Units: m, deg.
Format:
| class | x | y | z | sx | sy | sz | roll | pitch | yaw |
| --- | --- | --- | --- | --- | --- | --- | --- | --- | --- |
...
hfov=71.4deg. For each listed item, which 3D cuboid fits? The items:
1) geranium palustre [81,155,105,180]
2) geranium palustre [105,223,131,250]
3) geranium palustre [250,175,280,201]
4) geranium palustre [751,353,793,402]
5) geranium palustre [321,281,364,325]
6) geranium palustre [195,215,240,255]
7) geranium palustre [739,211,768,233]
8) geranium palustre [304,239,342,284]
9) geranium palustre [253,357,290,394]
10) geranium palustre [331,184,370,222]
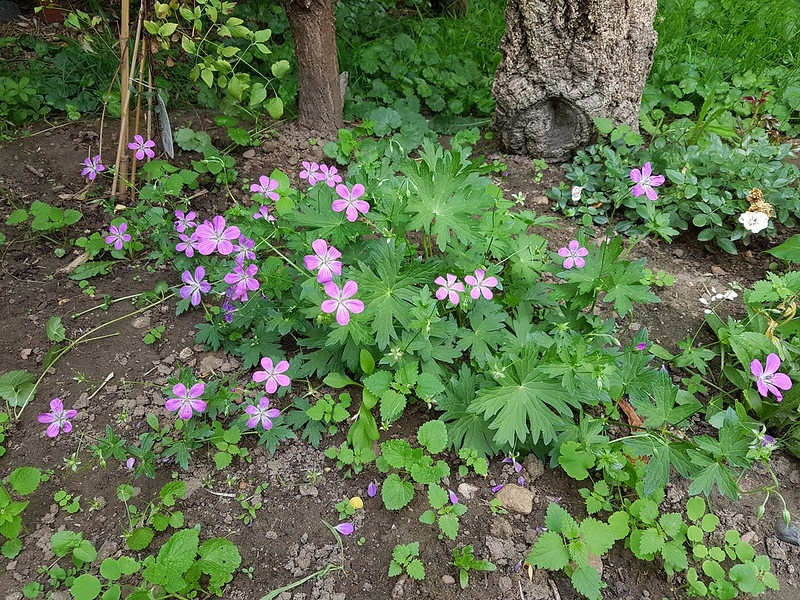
| class | x | y | z | sx | sy | sz | roll | pitch | yaw |
| --- | --- | --- | --- | --- | --- | --- | --- | --- | --- |
| geranium palustre | -2.035 | -0.869 | 3.703 | 0.191 | 0.209 | 0.047 | -5 | 7 | 41 |
| geranium palustre | -1.703 | -0.379 | 3.372 | 0.156 | 0.037 | 0.173 | 3 | 77 | -2 |
| geranium palustre | -0.716 | -0.610 | 3.066 | 0.153 | 0.043 | 0.169 | -12 | 79 | 2 |
| geranium palustre | 1.719 | 0.357 | 2.650 | 0.239 | 0.268 | 0.099 | -1 | -5 | -1 |
| geranium palustre | -0.279 | -0.002 | 2.636 | 0.197 | 0.217 | 0.035 | 5 | 45 | -27 |
| geranium palustre | -0.912 | -0.341 | 2.818 | 0.201 | 0.185 | 0.248 | 1 | 38 | -7 |
| geranium palustre | 2.114 | -0.471 | 3.351 | 0.143 | 0.112 | 0.125 | 20 | 39 | 17 |
| geranium palustre | -0.371 | -0.167 | 2.664 | 0.165 | 0.218 | 0.214 | -1 | 37 | -10 |
| geranium palustre | -0.636 | 0.390 | 2.752 | 0.164 | 0.223 | 0.125 | -20 | 43 | -31 |
| geranium palustre | -0.246 | -0.478 | 2.847 | 0.202 | 0.231 | 0.165 | -7 | 38 | -18 |
